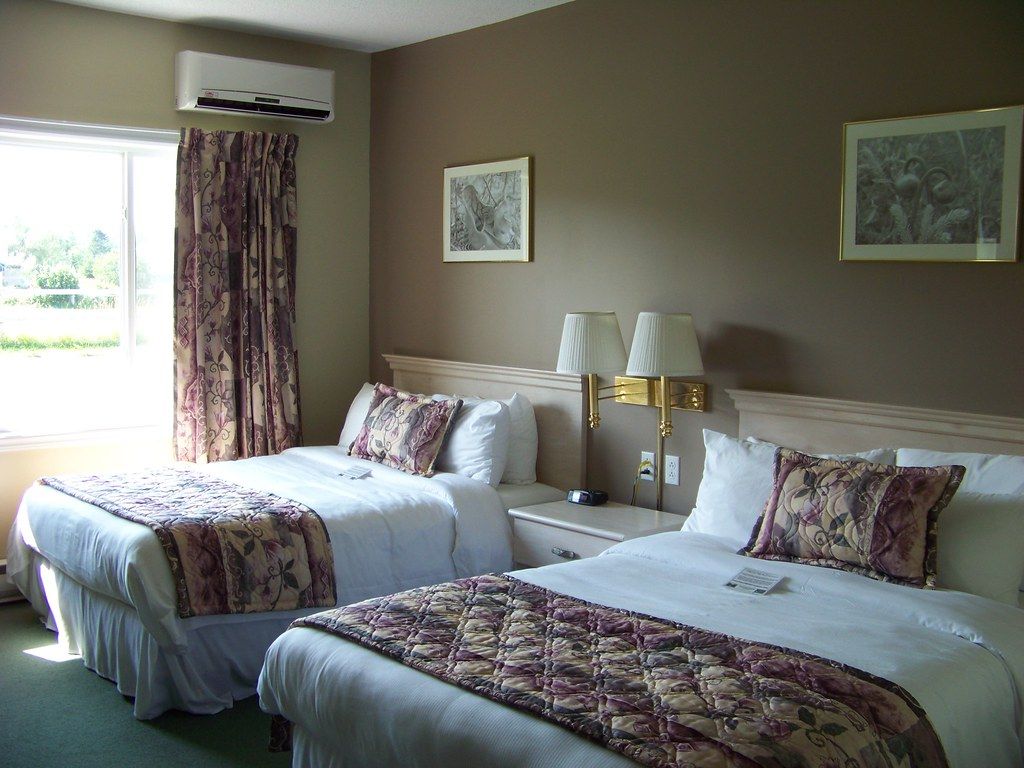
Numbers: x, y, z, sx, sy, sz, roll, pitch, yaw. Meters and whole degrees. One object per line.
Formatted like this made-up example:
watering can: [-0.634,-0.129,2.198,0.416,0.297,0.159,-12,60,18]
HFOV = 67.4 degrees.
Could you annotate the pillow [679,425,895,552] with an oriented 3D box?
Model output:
pillow: [1.027,0.446,3.348,0.162,0.537,0.547,25,-14,-27]

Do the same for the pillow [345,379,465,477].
pillow: [-0.588,0.271,4.392,0.169,0.455,0.614,27,-9,-40]

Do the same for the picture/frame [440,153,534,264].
picture/frame: [-0.134,-1.093,4.771,0.706,0.646,0.027,3,4,42]

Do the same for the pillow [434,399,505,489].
pillow: [-0.238,0.347,4.281,0.212,0.432,0.435,-1,-4,-35]
